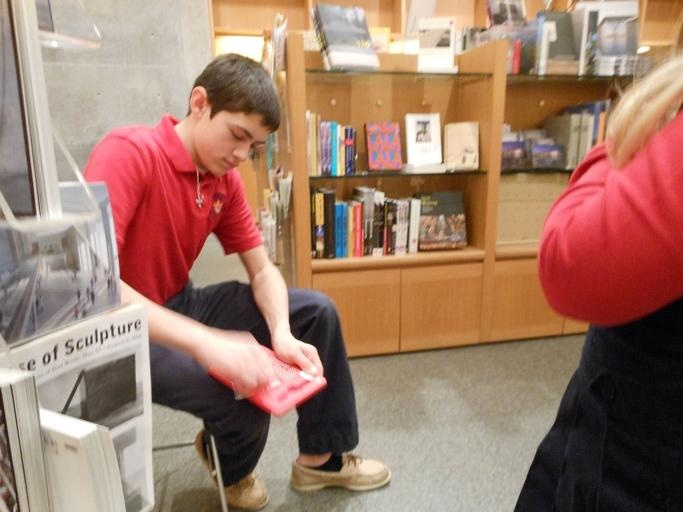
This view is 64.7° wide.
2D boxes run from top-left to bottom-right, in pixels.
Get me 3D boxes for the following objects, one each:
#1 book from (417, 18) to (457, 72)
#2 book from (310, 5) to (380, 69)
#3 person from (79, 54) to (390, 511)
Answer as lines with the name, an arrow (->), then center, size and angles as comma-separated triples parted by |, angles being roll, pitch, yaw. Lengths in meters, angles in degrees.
book -> 0.442, -1.012, 2.528 | 0.185, 0.291, 0.018 | 1, -12, -5
book -> 0.036, -0.925, 2.262 | 0.261, 0.316, 0.067 | -9, -2, -34
person -> -0.280, 0.109, 1.472 | 0.547, 1.310, 0.681 | 4, 14, 32
